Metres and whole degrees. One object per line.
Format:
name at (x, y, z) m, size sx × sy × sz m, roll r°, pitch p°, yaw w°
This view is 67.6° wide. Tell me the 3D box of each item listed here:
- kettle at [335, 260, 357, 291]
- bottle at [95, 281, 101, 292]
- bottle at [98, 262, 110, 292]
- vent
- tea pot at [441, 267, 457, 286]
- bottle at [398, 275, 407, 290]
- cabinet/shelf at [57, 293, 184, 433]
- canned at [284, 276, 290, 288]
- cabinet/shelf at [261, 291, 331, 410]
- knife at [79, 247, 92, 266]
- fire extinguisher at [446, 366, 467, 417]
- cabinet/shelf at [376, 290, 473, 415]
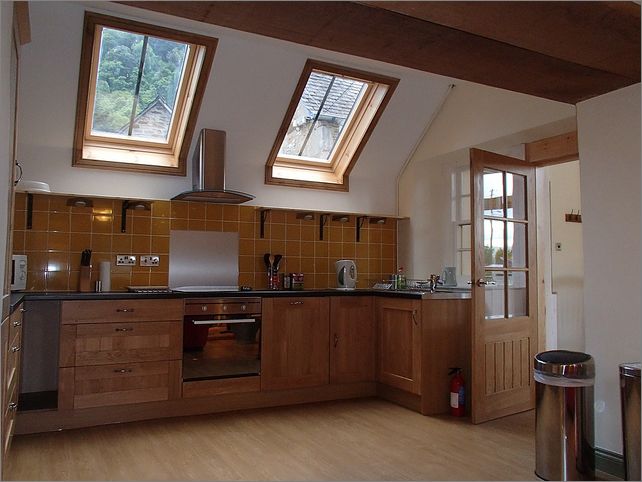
kettle at (0.272, 0.353, 5.139) m, size 0.267 × 0.323 × 0.278 m, roll 1°, pitch -8°, yaw -5°
bottle at (-1.961, 0.393, 4.226) m, size 0.052 × 0.091 × 0.100 m, roll 0°, pitch 2°, yaw -28°
bottle at (-1.939, 0.309, 4.299) m, size 0.094 × 0.263 × 0.138 m, roll 0°, pitch 2°, yaw -25°
vent at (-1.069, -0.754, 4.555) m, size 0.756 × 0.612 × 0.738 m, roll 2°, pitch 6°, yaw 0°
tea pot at (1.260, 0.367, 4.851) m, size 0.187 × 0.202 × 0.122 m, roll 2°, pitch -8°, yaw -9°
bottle at (0.840, 0.416, 4.998) m, size 0.084 × 0.146 × 0.194 m, roll 1°, pitch 2°, yaw 8°
cabinet/shelf at (-1.558, 0.888, 4.142) m, size 1.204 × 1.185 × 0.737 m, roll 2°, pitch -6°, yaw -24°
canned at (-0.347, 0.411, 4.919) m, size 0.072 × 0.129 × 0.035 m, roll 1°, pitch 2°, yaw 10°
cabinet/shelf at (-0.278, 0.972, 4.507) m, size 0.782 × 1.153 × 0.748 m, roll 1°, pitch -7°, yaw -17°
knife at (-2.083, 0.143, 4.248) m, size 0.091 × 0.148 × 0.153 m, roll 0°, pitch 2°, yaw -27°
fire extinguisher at (1.188, 1.319, 4.195) m, size 0.138 × 0.391 × 0.152 m, roll 1°, pitch 2°, yaw 15°
cabinet/shelf at (0.986, 1.023, 4.892) m, size 0.919 × 1.445 × 1.001 m, roll 2°, pitch -5°, yaw -14°
